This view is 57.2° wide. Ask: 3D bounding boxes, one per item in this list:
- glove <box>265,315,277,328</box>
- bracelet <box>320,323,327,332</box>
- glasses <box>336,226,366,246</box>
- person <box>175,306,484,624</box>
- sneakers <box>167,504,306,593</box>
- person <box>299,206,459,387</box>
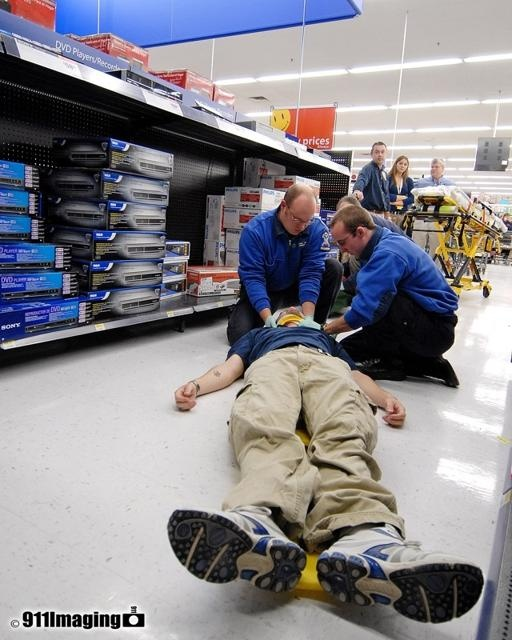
[{"bbox_3d":[0.082,0.010,2.430,0.023,0.057,0.044,4,12,-12],"label":"glove"},{"bbox_3d":[0.438,0.043,2.999,0.030,0.070,0.057,6,53,-7],"label":"bracelet"},{"bbox_3d":[0.504,-0.427,2.447,0.095,0.051,0.112,-5,41,1],"label":"glasses"},{"bbox_3d":[0.148,0.216,1.113,0.472,0.224,0.792,7,23,-4],"label":"person"},{"bbox_3d":[-0.035,0.425,0.866,0.277,0.109,0.142,20,16,-10],"label":"sneakers"},{"bbox_3d":[0.676,-0.235,2.989,1.049,1.177,0.875,5,19,14],"label":"person"}]
